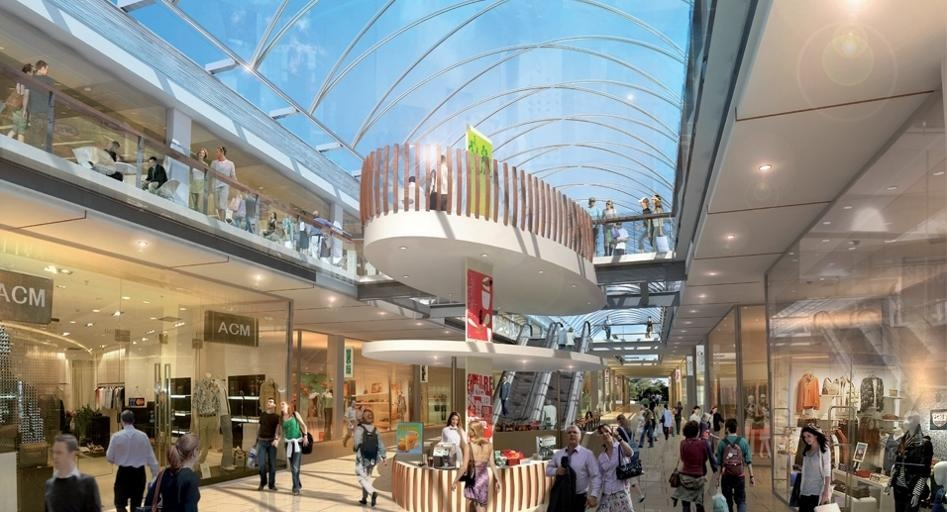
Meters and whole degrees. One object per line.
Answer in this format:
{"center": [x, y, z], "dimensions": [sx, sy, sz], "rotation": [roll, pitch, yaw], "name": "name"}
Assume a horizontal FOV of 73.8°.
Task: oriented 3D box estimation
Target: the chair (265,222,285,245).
{"center": [-6.988, -0.817, 22.315], "dimensions": [0.627, 0.627, 0.596], "rotation": [2, 2, -28], "name": "chair"}

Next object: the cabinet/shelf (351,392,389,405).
{"center": [-7.060, 9.909, 43.958], "dimensions": [0.424, 1.083, 3.443], "rotation": [-10, -21, 25], "name": "cabinet/shelf"}

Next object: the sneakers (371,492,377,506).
{"center": [-3.130, 7.712, 19.967], "dimensions": [0.144, 0.392, 0.175], "rotation": [5, -8, -34], "name": "sneakers"}

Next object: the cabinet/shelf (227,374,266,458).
{"center": [-8.636, 5.825, 24.520], "dimensions": [0.638, 1.686, 1.861], "rotation": [-15, -25, -14], "name": "cabinet/shelf"}

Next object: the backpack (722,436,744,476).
{"center": [7.025, 5.500, 17.212], "dimensions": [0.539, 0.987, 0.340], "rotation": [-5, -20, 13], "name": "backpack"}

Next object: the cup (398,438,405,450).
{"center": [-3.032, 7.950, 26.517], "dimensions": [0.335, 0.450, 0.342], "rotation": [-1, -19, 0], "name": "cup"}

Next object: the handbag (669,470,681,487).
{"center": [5.386, 6.041, 17.067], "dimensions": [0.251, 0.422, 0.702], "rotation": [-3, -19, 7], "name": "handbag"}

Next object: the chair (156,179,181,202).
{"center": [-9.088, -2.024, 18.878], "dimensions": [0.593, 0.532, 0.514], "rotation": [4, -6, 20], "name": "chair"}

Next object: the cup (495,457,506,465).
{"center": [0.851, 6.328, 19.436], "dimensions": [0.240, 0.179, 0.253], "rotation": [4, -2, 0], "name": "cup"}

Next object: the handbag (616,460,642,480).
{"center": [3.893, 5.353, 15.810], "dimensions": [0.673, 0.465, 0.360], "rotation": [16, -25, -39], "name": "handbag"}
